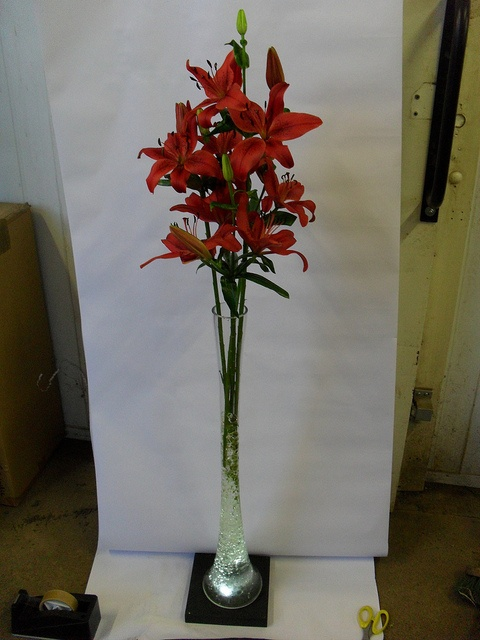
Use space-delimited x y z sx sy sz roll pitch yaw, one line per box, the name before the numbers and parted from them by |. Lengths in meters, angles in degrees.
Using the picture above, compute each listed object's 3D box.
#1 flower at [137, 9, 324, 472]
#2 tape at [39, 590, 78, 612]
flower | -0.015 -0.141 1.079 0.313 0.780 0.494 3 23 4
tape | -0.439 0.684 1.374 0.049 0.049 0.021 28 42 -15
